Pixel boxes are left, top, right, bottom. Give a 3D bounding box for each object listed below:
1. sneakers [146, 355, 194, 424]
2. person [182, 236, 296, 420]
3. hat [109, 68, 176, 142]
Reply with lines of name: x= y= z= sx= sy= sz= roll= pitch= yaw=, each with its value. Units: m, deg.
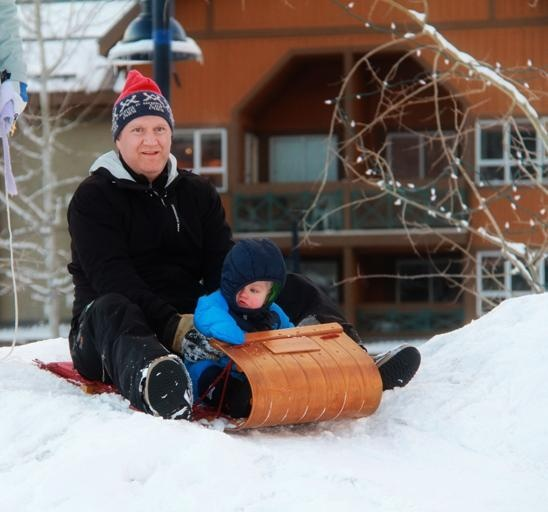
sneakers: x=-0.476 y=0.597 z=4.656 sx=0.199 sy=0.285 sz=0.088 roll=-5 pitch=2 yaw=-29
person: x=-0.142 y=0.341 z=5.069 sx=0.595 sy=0.868 sz=0.530 roll=-2 pitch=0 yaw=-22
hat: x=-0.736 y=-0.869 z=5.755 sx=0.318 sy=0.332 sz=0.263 roll=0 pitch=1 yaw=41
